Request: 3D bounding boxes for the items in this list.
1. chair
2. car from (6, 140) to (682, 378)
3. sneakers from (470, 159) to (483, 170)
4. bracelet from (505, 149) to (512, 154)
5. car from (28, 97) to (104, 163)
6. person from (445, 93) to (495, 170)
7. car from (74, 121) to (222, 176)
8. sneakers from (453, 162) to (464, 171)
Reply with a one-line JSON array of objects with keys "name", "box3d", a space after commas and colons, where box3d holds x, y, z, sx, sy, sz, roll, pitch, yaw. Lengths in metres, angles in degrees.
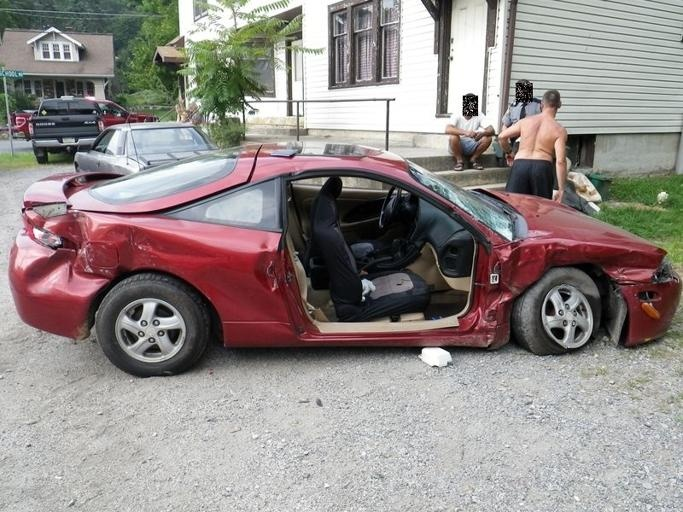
[{"name": "chair", "box3d": [0.080, -0.231, 4.454, 1.319, 1.547, 0.902, -7, 28, -2]}, {"name": "car", "box3d": [-0.134, -0.077, 4.200, 5.085, 1.805, 1.266, -3, 15, -4]}, {"name": "sneakers", "box3d": [2.746, -1.862, 9.585, 0.143, 0.124, 0.297, -7, 20, -21]}, {"name": "bracelet", "box3d": [2.601, -1.634, 7.327, 0.114, 0.033, 0.127, -10, 8, 19]}, {"name": "car", "box3d": [-10.978, -4.678, 18.893, 2.399, 2.160, 4.834, -10, 12, -28]}, {"name": "person", "box3d": [2.558, -2.490, 9.394, 0.797, 1.483, 0.979, 5, 18, 19]}, {"name": "car", "box3d": [-4.087, -2.180, 9.296, 1.919, 1.025, 2.938, -21, 32, -39]}, {"name": "sneakers", "box3d": [2.311, -1.777, 9.332, 0.141, 0.181, 0.412, 0, 9, 8]}]
